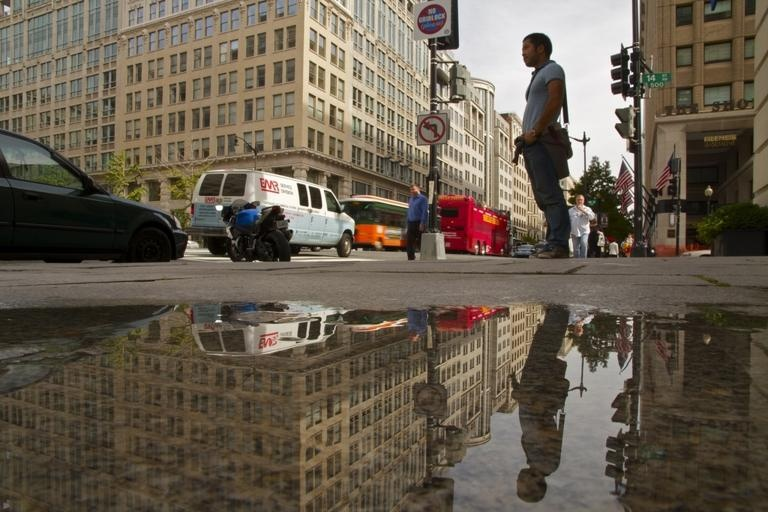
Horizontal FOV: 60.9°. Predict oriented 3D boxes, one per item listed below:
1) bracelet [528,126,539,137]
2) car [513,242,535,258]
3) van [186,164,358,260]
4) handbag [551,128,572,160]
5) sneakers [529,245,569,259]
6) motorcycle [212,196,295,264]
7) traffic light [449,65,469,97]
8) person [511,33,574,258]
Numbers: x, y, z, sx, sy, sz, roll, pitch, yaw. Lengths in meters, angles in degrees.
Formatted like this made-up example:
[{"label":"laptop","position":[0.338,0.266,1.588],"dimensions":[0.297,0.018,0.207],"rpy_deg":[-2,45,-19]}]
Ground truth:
[{"label":"bracelet","position":[1.548,-1.285,6.727],"dimensions":[0.112,0.131,0.175],"rpy_deg":[-3,26,13]},{"label":"car","position":[9.259,-0.417,43.385],"dimensions":[1.077,0.659,2.199],"rpy_deg":[-1,-2,14]},{"label":"van","position":[-2.724,-1.146,17.565],"dimensions":[2.357,1.488,4.023],"rpy_deg":[0,-1,36]},{"label":"handbag","position":[1.839,-1.172,6.757],"dimensions":[0.183,0.322,0.294],"rpy_deg":[1,1,15]},{"label":"sneakers","position":[1.829,-0.042,7.328],"dimensions":[0.477,0.174,0.176],"rpy_deg":[4,2,12]},{"label":"motorcycle","position":[-2.038,-0.391,10.490],"dimensions":[1.291,0.949,0.571],"rpy_deg":[2,2,39]},{"label":"traffic light","position":[1.346,-3.146,11.701],"dimensions":[0.327,0.749,0.419],"rpy_deg":[1,1,5]},{"label":"person","position":[1.670,-1.163,6.903],"dimensions":[0.591,2.392,0.935],"rpy_deg":[1,1,15]}]
